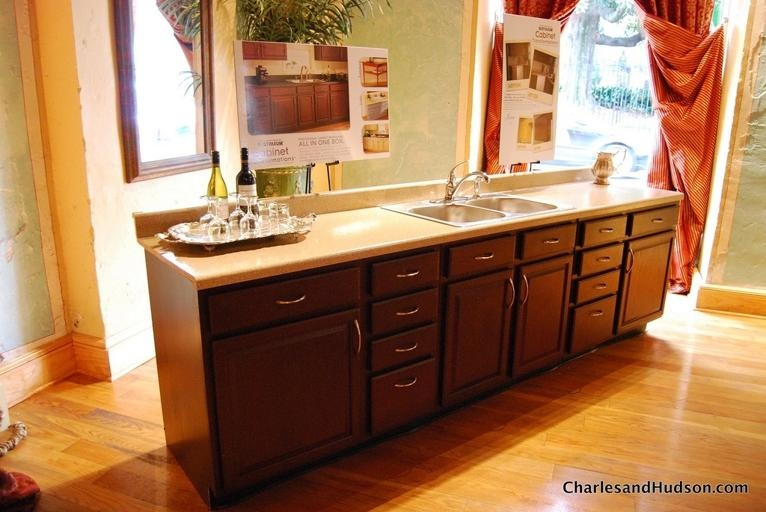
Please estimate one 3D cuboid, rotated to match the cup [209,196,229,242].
[{"bbox_3d":[-0.793,-0.195,2.748,0.100,0.175,0.276,-8,20,-13],"label":"cup"}]
